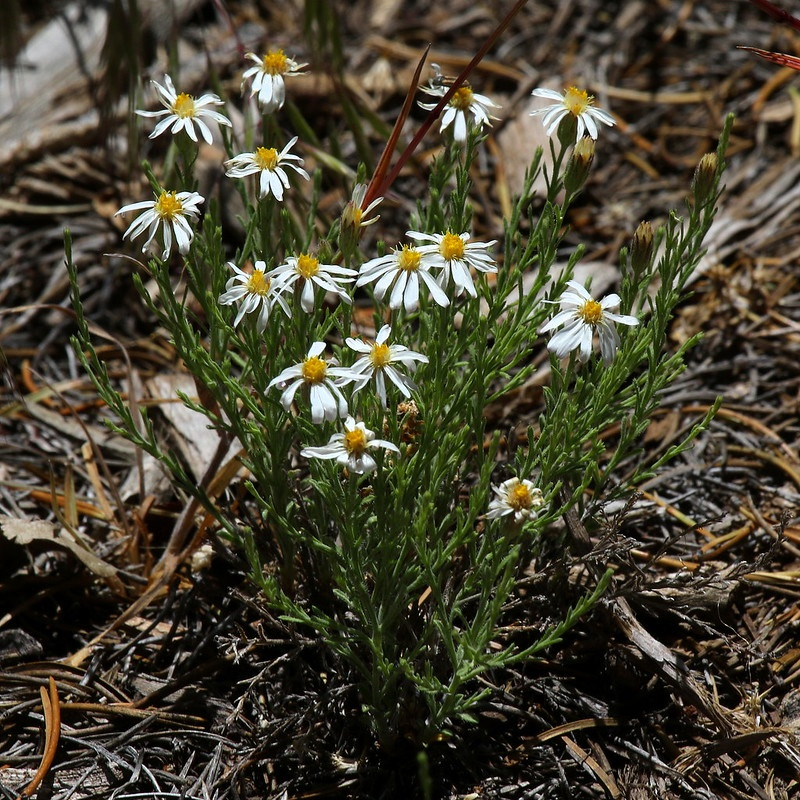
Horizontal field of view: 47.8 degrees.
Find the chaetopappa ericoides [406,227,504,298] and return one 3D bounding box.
[{"bbox_3d":[0.124,-0.287,1.771,0.144,0.155,0.075,-11,77,-18],"label":"chaetopappa ericoides"}]

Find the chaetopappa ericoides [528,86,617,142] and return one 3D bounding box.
[{"bbox_3d":[0.384,-0.647,1.999,0.160,0.159,0.080,17,95,48],"label":"chaetopappa ericoides"}]

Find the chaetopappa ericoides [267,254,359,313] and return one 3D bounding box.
[{"bbox_3d":[-0.154,-0.239,1.811,0.144,0.085,0.135,-2,5,41],"label":"chaetopappa ericoides"}]

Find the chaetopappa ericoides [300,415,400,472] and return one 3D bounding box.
[{"bbox_3d":[-0.065,0.092,1.690,0.142,0.066,0.167,-10,17,6],"label":"chaetopappa ericoides"}]

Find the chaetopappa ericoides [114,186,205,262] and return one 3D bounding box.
[{"bbox_3d":[-0.431,-0.396,1.882,0.120,0.178,0.102,-6,88,24],"label":"chaetopappa ericoides"}]

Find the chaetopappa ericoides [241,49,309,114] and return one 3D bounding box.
[{"bbox_3d":[-0.247,-0.705,1.978,0.113,0.141,0.081,13,73,4],"label":"chaetopappa ericoides"}]

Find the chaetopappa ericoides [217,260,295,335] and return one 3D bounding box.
[{"bbox_3d":[-0.244,-0.222,1.821,0.121,0.130,0.082,-4,74,12],"label":"chaetopappa ericoides"}]

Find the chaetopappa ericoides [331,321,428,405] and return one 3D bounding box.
[{"bbox_3d":[-0.007,-0.062,1.705,0.121,0.140,0.087,-15,84,-3],"label":"chaetopappa ericoides"}]

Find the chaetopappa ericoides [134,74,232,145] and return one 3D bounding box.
[{"bbox_3d":[-0.419,-0.645,1.977,0.138,0.140,0.073,9,96,-9],"label":"chaetopappa ericoides"}]

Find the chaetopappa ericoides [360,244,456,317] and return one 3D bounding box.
[{"bbox_3d":[0.023,-0.222,1.764,0.117,0.074,0.143,0,54,7],"label":"chaetopappa ericoides"}]

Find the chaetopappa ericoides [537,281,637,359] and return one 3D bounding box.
[{"bbox_3d":[0.390,-0.166,1.836,0.150,0.065,0.193,3,34,36],"label":"chaetopappa ericoides"}]

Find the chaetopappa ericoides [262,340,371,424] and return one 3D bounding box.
[{"bbox_3d":[-0.131,-0.029,1.746,0.144,0.091,0.159,5,26,19],"label":"chaetopappa ericoides"}]
